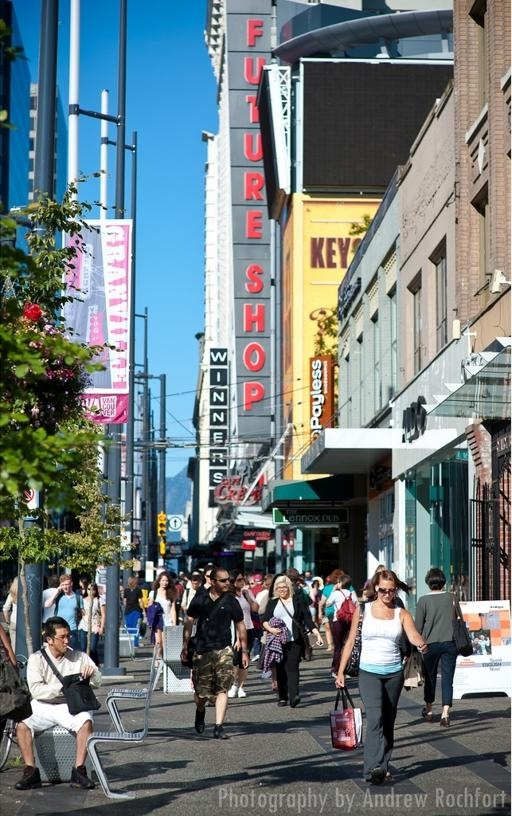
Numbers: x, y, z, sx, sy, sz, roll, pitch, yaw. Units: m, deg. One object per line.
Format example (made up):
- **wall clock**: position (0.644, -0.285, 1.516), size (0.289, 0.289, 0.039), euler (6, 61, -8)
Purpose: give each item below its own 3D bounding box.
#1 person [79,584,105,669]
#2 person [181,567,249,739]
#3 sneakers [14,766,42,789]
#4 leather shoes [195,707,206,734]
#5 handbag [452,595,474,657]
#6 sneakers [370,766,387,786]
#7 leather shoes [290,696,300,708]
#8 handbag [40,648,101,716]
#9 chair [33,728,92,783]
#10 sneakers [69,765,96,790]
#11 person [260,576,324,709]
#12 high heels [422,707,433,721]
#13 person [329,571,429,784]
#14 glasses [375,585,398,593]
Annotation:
- **person**: position (-2.622, 3.456, 22.066), size (0.366, 1.445, 0.394), euler (3, 15, -2)
- **person**: position (-0.404, 2.281, 13.141), size (0.557, 1.548, 0.898), euler (1, -6, -1)
- **sneakers**: position (-1.596, 2.587, 9.785), size (0.075, 0.117, 0.229), euler (-4, -13, 15)
- **leather shoes**: position (-0.530, 2.950, 13.194), size (0.085, 0.308, 0.190), euler (1, -7, 0)
- **handbag**: position (2.051, 2.171, 13.872), size (0.176, 0.565, 0.417), euler (0, -7, 10)
- **sneakers**: position (0.857, 2.553, 9.778), size (0.067, 0.174, 0.070), euler (6, 12, -3)
- **leather shoes**: position (0.457, 3.429, 16.293), size (0.062, 0.075, 0.179), euler (11, -51, -13)
- **handbag**: position (-1.326, 1.996, 10.077), size (0.109, 0.472, 0.252), euler (-38, -17, 33)
- **chair**: position (-1.421, 2.509, 10.153), size (0.351, 0.429, 0.392), euler (0, 5, -2)
- **sneakers**: position (-1.218, 2.609, 9.898), size (0.143, 0.143, 0.237), euler (3, -7, -19)
- **person**: position (0.375, 2.771, 16.803), size (0.586, 1.548, 1.054), euler (0, -7, 2)
- **high heels**: position (1.736, 3.103, 14.182), size (0.057, 0.078, 0.176), euler (-1, 6, -3)
- **person**: position (0.933, 1.961, 10.448), size (0.640, 1.514, 1.331), euler (0, -7, 3)
- **glasses**: position (0.945, 1.343, 10.291), size (0.154, 0.054, 0.138), euler (-2, -8, 18)
